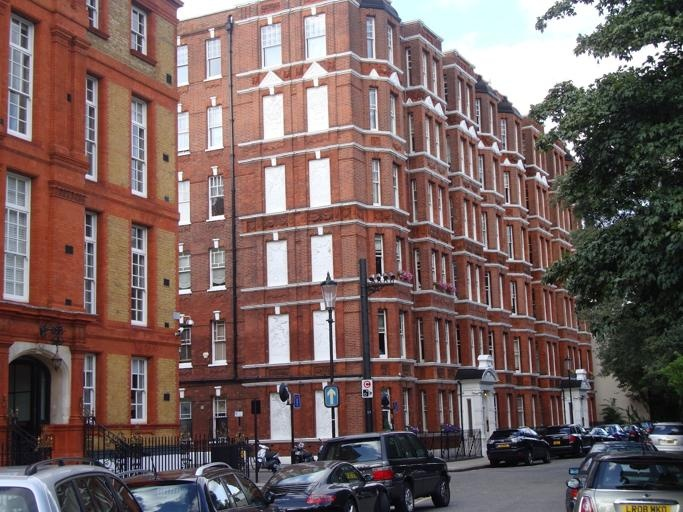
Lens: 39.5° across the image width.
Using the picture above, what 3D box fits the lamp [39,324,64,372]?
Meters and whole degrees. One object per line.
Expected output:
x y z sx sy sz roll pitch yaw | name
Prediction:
-9.225 2.839 30.399 0.507 1.314 1.030 -7 -17 4 | lamp

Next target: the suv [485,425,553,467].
8.710 9.275 46.412 1.632 1.284 3.595 -6 -10 30 | suv
